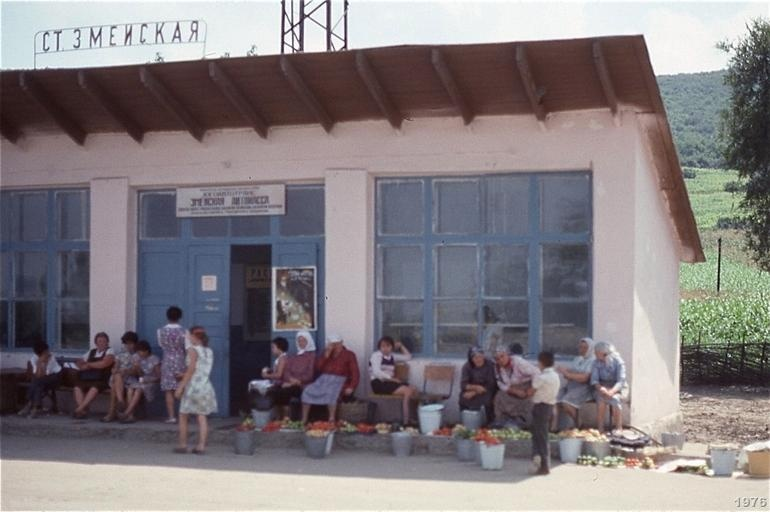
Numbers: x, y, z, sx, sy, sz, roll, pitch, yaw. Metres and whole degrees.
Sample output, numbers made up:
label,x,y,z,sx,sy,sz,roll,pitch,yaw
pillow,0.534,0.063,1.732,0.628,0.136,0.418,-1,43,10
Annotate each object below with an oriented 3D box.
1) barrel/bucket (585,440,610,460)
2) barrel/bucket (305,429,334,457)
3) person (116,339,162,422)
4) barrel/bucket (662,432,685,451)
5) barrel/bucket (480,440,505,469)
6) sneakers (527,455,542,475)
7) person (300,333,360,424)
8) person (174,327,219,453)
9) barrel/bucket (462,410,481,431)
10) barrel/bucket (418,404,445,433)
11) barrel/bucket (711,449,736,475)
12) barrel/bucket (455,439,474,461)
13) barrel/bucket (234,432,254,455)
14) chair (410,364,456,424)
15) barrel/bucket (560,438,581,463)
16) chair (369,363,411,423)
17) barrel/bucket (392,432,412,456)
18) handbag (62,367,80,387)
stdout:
label,x,y,z,sx,sy,sz,roll,pitch,yaw
barrel/bucket,4.156,3.848,23.776,0.424,0.299,0.369,0,-6,5
barrel/bucket,-1.335,3.775,24.072,0.509,0.382,0.478,0,-4,0
person,-5.308,2.691,25.838,0.876,1.691,0.323,-2,-8,-14
barrel/bucket,6.044,3.902,25.383,0.389,0.394,0.947,-6,-8,19
barrel/bucket,2.084,3.878,23.535,0.585,0.451,0.472,1,-7,-1
sneakers,2.858,4.029,23.111,0.179,0.381,0.171,13,11,8
person,-1.184,2.570,25.144,1.228,1.819,0.432,-3,-8,-5
person,-3.881,2.697,24.184,0.763,2.520,0.840,1,-9,-29
barrel/bucket,1.758,3.346,24.500,0.392,0.367,0.351,-2,1,8
barrel/bucket,0.911,3.320,24.427,0.517,0.462,0.543,0,-9,0
barrel/bucket,6.526,3.979,23.225,0.526,0.396,0.461,2,-5,-15
barrel/bucket,1.580,3.848,23.820,0.363,0.296,0.393,0,-10,0
barrel/bucket,-2.854,3.766,24.236,0.427,0.487,0.432,0,-2,0
chair,0.945,2.898,24.955,0.829,1.166,0.960,-1,4,17
barrel/bucket,3.647,3.845,23.779,0.467,0.348,0.411,2,-5,-6
chair,0.246,3.018,25.355,0.887,1.174,0.921,-2,-13,12
barrel/bucket,0.319,3.785,24.096,0.446,0.382,0.412,0,-6,0
handbag,-6.940,2.671,26.429,0.418,0.378,0.103,12,2,15
